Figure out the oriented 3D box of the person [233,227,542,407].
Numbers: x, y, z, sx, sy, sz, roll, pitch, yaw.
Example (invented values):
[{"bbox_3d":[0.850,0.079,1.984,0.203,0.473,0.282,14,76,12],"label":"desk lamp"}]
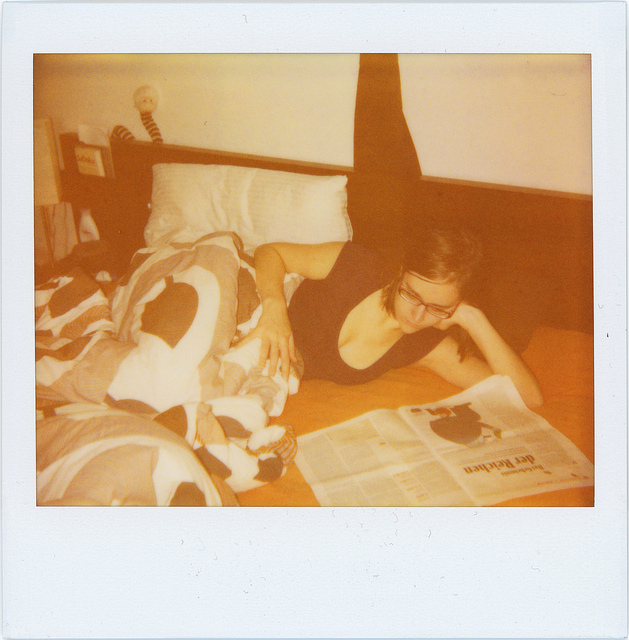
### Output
[{"bbox_3d":[0.197,-0.023,2.028,0.685,0.353,0.560,18,45,5],"label":"person"}]
